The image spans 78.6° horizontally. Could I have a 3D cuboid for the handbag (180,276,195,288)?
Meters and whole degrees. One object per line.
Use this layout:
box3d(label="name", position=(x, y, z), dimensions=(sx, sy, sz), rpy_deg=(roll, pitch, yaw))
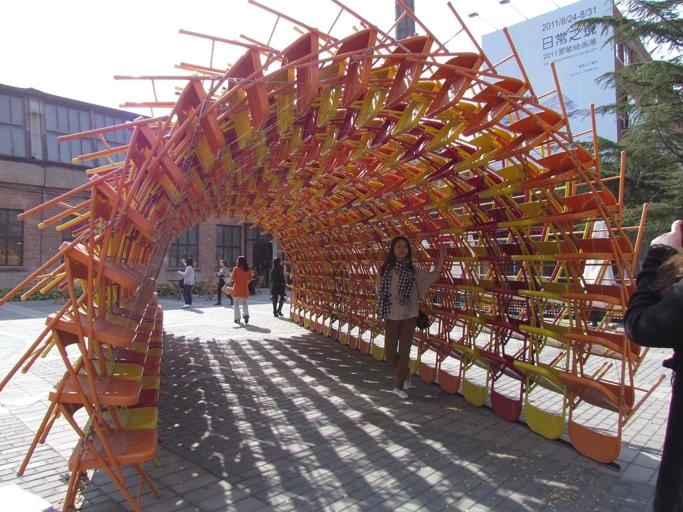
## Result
box3d(label="handbag", position=(-6.609, 1.072, 17.851), dimensions=(0.651, 0.574, 0.580), rpy_deg=(6, 21, -10))

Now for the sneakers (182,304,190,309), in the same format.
box3d(label="sneakers", position=(-6.593, 2.123, 17.672), dimensions=(0.196, 0.199, 0.526), rpy_deg=(0, -9, -35))

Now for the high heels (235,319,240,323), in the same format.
box3d(label="high heels", position=(-3.113, 1.961, 12.515), dimensions=(0.111, 0.105, 0.131), rpy_deg=(6, -15, -31))

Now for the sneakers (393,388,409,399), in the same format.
box3d(label="sneakers", position=(0.856, 1.941, 5.914), dimensions=(0.096, 0.075, 0.216), rpy_deg=(1, -6, -34))

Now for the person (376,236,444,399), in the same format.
box3d(label="person", position=(0.958, 0.848, 5.942), dimensions=(0.860, 2.282, 0.453), rpy_deg=(1, 0, 3))
